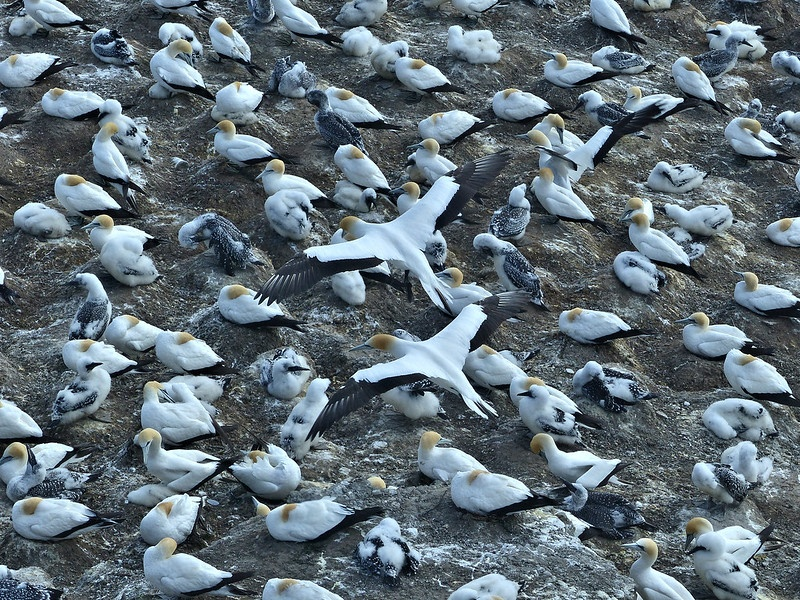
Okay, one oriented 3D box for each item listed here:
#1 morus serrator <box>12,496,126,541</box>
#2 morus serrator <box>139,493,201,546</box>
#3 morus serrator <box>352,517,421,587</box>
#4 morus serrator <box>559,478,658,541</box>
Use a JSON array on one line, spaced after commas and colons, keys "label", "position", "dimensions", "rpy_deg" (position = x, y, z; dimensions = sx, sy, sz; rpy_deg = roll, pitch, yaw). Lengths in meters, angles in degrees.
[{"label": "morus serrator", "position": [-4.823, 3.186, 20.670], "dimensions": [1.573, 0.576, 0.685], "rpy_deg": [0, 12, -15]}, {"label": "morus serrator", "position": [-3.222, 3.155, 20.582], "dimensions": [0.525, 0.637, 0.943], "rpy_deg": [43, 72, 12]}, {"label": "morus serrator", "position": [-0.168, 3.463, 19.685], "dimensions": [0.681, 0.378, 0.878], "rpy_deg": [2, 33, -9]}, {"label": "morus serrator", "position": [2.999, 3.070, 20.996], "dimensions": [1.761, 0.853, 0.592], "rpy_deg": [1, 14, 8]}]
